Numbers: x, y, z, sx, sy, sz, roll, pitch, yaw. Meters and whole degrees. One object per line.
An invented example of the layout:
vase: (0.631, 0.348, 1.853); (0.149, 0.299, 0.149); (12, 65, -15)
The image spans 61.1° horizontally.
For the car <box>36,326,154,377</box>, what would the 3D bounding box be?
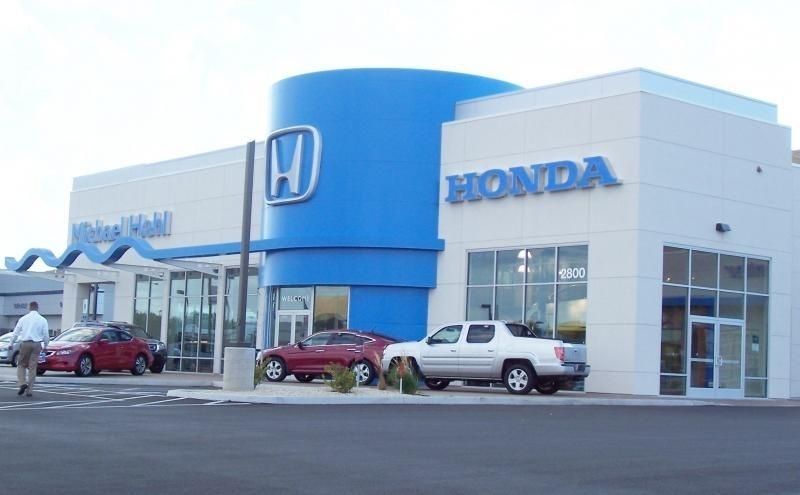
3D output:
car: (-12.879, 4.420, 28.539); (2.411, 1.521, 4.636); (-6, -13, 29)

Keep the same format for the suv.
suv: (-13.585, 4.830, 32.584); (5.055, 2.187, 2.338); (0, -3, -12)

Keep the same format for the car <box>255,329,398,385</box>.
car: (-2.996, 4.561, 27.348); (5.096, 1.831, 2.364); (0, -6, 19)
